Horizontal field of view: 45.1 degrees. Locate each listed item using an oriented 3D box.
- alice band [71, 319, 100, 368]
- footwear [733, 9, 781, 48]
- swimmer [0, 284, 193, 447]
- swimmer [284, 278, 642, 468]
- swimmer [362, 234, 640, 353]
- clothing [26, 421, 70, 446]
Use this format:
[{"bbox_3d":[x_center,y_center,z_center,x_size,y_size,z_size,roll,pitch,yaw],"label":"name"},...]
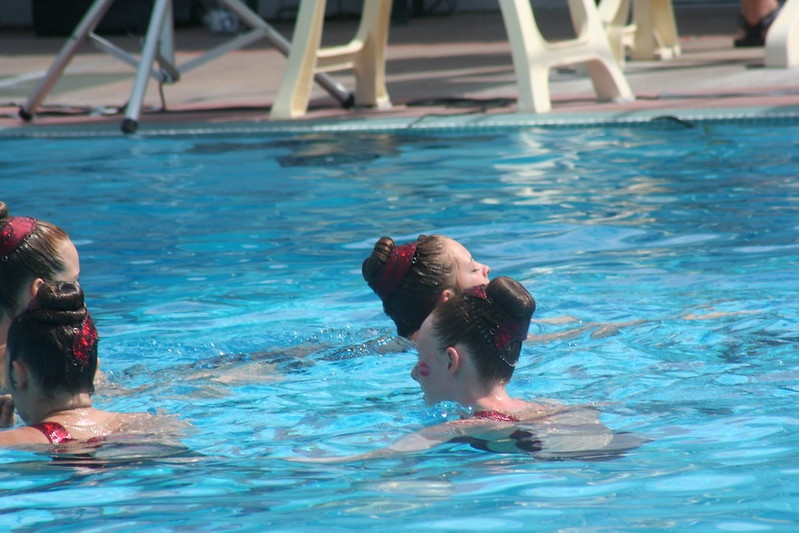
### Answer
[{"bbox_3d":[-1.103,0.267,3.382,0.048,0.132,0.133,-1,-11,33],"label":"alice band"},{"bbox_3d":[3.851,-2.571,10.400,0.236,0.370,0.620,-8,15,-11],"label":"footwear"},{"bbox_3d":[-1.154,0.396,3.643,0.834,0.362,0.392,-2,7,-33],"label":"swimmer"},{"bbox_3d":[0.355,0.340,3.385,0.826,0.532,0.543,0,16,9],"label":"swimmer"},{"bbox_3d":[0.305,0.082,4.126,1.138,0.382,0.330,-2,21,-31],"label":"swimmer"},{"bbox_3d":[-1.198,0.570,3.298,0.109,0.054,0.095,-15,2,-27],"label":"clothing"}]
